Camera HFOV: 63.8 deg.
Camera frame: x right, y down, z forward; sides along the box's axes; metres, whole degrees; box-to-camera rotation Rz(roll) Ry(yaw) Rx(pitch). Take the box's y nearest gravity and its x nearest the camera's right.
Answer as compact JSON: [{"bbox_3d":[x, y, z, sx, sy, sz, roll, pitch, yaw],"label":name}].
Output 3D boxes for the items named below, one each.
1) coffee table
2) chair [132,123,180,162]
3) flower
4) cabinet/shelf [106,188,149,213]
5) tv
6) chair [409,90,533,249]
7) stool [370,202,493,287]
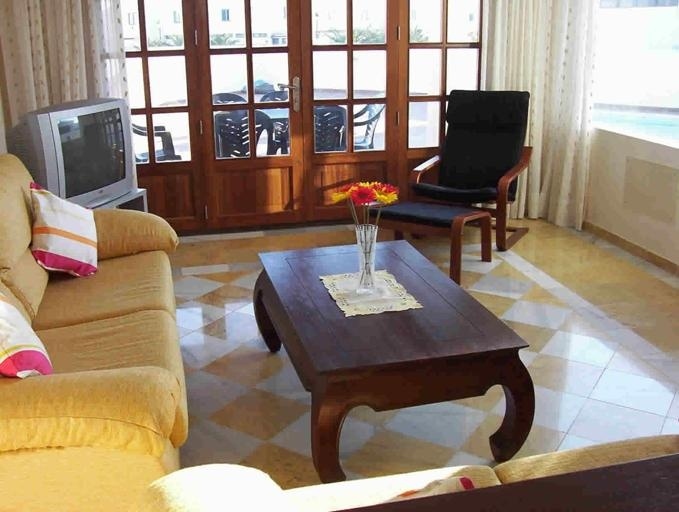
[{"bbox_3d":[0.108,0.435,2.565,0.968,0.487,1.338,-2,15,-17],"label":"coffee table"},{"bbox_3d":[-1.563,-0.964,4.641,0.353,0.295,0.260,-7,30,-18],"label":"chair"},{"bbox_3d":[0.105,-0.075,2.462,0.348,0.465,0.270,0,-3,32],"label":"flower"},{"bbox_3d":[-1.581,-0.416,4.043,0.253,0.200,0.133,15,38,26],"label":"cabinet/shelf"},{"bbox_3d":[-1.749,-0.670,3.561,0.450,0.645,0.775,14,23,21],"label":"tv"},{"bbox_3d":[1.064,-0.715,4.444,0.860,1.127,0.936,10,26,32],"label":"chair"},{"bbox_3d":[0.735,-0.280,3.944,0.840,0.419,0.592,17,30,37],"label":"stool"}]
